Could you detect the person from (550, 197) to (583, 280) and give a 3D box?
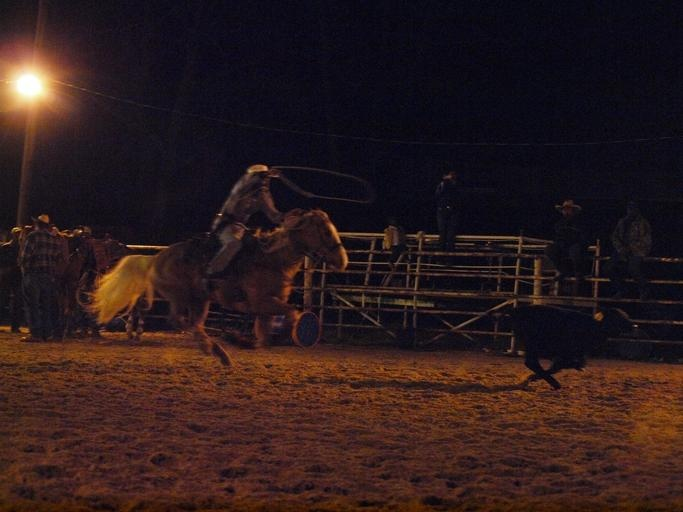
[{"bbox_3d":[4.502,-0.354,12.641,0.626,1.521,0.854,5,5,20],"label":"person"}]

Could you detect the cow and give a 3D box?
[{"bbox_3d":[3.289,1.185,9.688,2.561,1.236,0.786,-7,-2,4],"label":"cow"}]

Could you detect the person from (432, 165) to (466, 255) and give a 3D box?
[{"bbox_3d":[2.288,-1.007,13.694,0.490,1.778,1.230,4,5,8],"label":"person"}]

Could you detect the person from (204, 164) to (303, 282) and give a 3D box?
[{"bbox_3d":[-1.522,-0.508,9.999,1.187,1.832,0.531,2,5,-3],"label":"person"}]

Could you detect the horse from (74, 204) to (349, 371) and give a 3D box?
[{"bbox_3d":[-2.142,0.559,10.717,4.819,2.621,1.149,-2,-2,21],"label":"horse"}]
